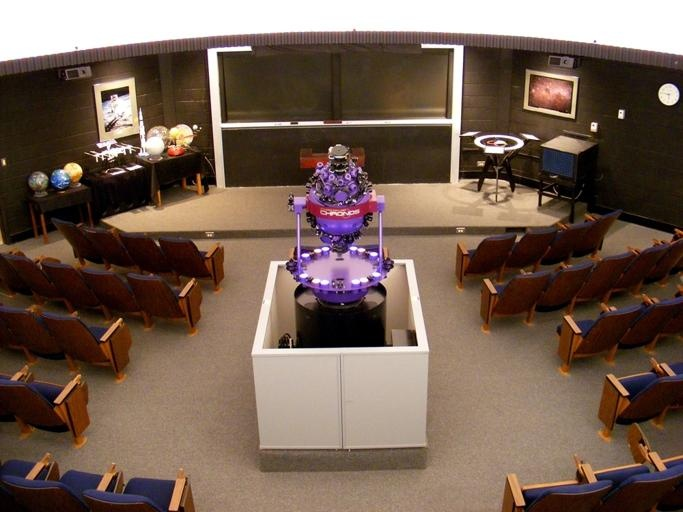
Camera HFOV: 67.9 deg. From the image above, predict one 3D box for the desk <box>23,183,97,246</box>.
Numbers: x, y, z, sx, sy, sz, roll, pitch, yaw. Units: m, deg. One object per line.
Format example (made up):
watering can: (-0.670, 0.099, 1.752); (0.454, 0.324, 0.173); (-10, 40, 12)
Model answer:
desk: (-5.222, -0.784, 9.338); (0.582, 0.739, 0.879); (33, 45, 26)

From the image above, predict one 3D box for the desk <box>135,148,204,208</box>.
desk: (-3.738, -1.587, 11.149); (1.546, 1.058, 1.121); (-24, 47, -31)

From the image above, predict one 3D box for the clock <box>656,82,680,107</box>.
clock: (5.719, -2.860, 8.877); (0.072, 0.424, 0.417); (-23, 22, -29)

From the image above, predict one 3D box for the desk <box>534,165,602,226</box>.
desk: (4.326, -1.520, 10.110); (0.820, 1.322, 0.901); (16, 15, 17)
